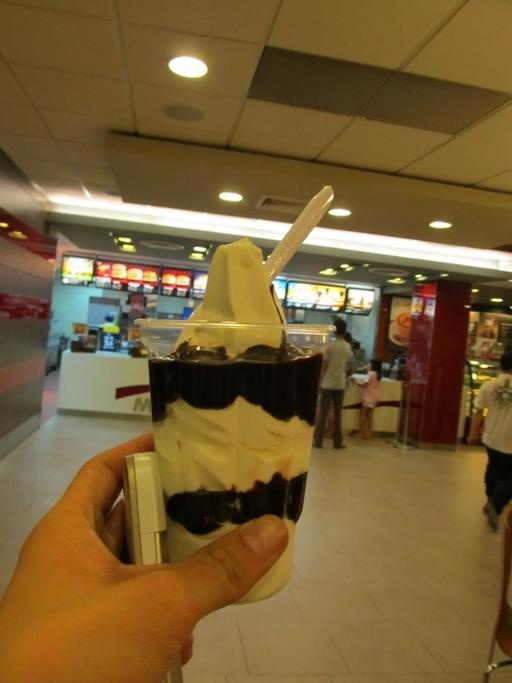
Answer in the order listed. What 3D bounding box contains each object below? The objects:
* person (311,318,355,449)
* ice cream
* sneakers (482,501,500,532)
[{"bbox_3d":[0.890,0.445,5.345,0.585,1.709,0.651,1,0,-9],"label":"person"},{"bbox_3d":[-0.035,0.067,0.667,0.228,0.514,0.255,6,-15,-41],"label":"ice cream"},{"bbox_3d":[1.281,0.970,2.633,0.080,0.106,0.180,5,4,26],"label":"sneakers"}]
